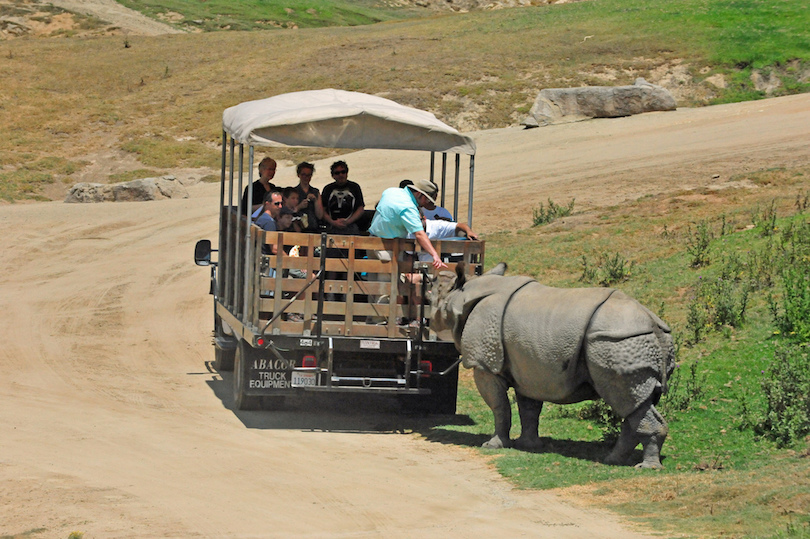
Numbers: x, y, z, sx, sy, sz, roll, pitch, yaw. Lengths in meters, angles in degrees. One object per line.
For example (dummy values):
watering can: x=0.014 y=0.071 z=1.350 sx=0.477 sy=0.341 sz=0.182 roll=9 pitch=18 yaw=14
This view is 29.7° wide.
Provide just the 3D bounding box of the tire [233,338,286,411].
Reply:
tire: x=-4.228 y=3.076 z=44.702 sx=0.851 sy=2.149 sz=2.278 roll=-1 pitch=-2 yaw=-13

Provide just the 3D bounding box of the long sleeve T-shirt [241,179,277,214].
long sleeve T-shirt: x=-4.391 y=-2.149 z=46.240 sx=1.336 sy=1.258 sz=0.734 roll=0 pitch=10 yaw=-26

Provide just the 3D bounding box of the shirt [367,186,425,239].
shirt: x=-0.242 y=-1.706 z=45.147 sx=1.320 sy=1.660 sz=2.177 roll=-2 pitch=31 yaw=-17

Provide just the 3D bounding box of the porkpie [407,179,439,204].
porkpie: x=0.651 y=-2.332 z=45.006 sx=0.809 sy=0.290 sz=0.715 roll=27 pitch=-6 yaw=-14

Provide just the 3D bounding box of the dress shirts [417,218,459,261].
dress shirts: x=1.023 y=-1.076 z=45.501 sx=1.402 sy=0.914 sz=0.345 roll=0 pitch=-11 yaw=-2
